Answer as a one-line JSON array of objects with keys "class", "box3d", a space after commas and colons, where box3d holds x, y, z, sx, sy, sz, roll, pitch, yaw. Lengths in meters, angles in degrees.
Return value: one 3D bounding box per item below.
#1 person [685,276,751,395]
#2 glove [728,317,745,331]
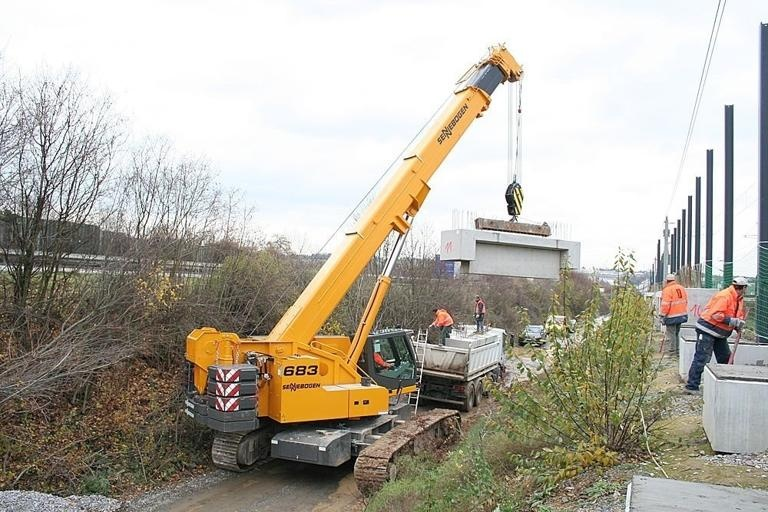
[{"class": "person", "box3d": [7.025, 1.710, 12.026, 1.160, 2.592, 0.886, 7, -5, -26]}, {"class": "glove", "box3d": [7.395, 1.459, 11.834, 0.315, 0.298, 0.249, 17, 4, 33]}]
